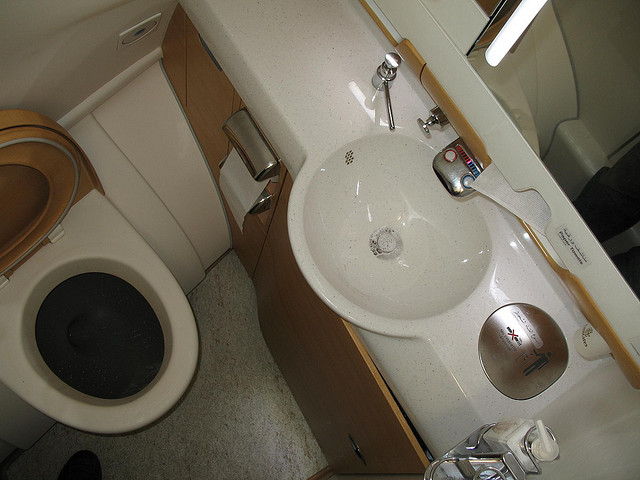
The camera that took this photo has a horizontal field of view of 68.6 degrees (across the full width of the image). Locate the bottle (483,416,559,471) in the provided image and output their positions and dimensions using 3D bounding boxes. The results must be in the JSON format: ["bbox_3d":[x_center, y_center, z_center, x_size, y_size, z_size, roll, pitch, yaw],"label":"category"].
[{"bbox_3d":[0.382,0.391,0.896,0.042,0.053,0.119,-33,2,-6],"label":"bottle"}]

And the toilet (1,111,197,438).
[{"bbox_3d":[-0.608,0.083,1.288,0.368,0.620,0.634,-36,-6,-17],"label":"toilet"}]
